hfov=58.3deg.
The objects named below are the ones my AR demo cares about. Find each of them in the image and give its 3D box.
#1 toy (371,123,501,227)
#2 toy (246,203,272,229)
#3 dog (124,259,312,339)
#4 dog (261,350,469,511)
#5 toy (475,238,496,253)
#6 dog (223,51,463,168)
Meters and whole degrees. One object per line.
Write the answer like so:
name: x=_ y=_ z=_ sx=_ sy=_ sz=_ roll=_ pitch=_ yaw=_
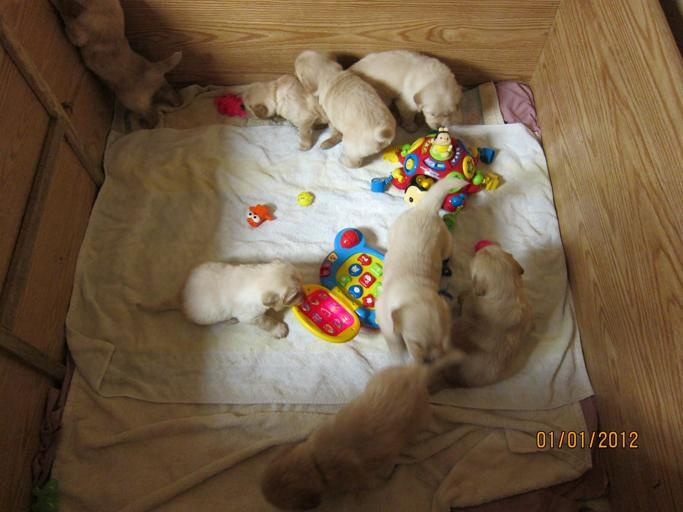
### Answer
toy: x=0.557 y=-0.406 z=3.398 sx=0.536 sy=0.275 sz=0.663 roll=-14 pitch=72 yaw=6
toy: x=-0.431 y=-0.219 z=3.247 sx=0.159 sy=0.048 sz=0.114 roll=-23 pitch=72 yaw=-15
dog: x=-0.645 y=0.169 z=2.999 sx=0.885 sy=0.361 sz=0.343 roll=5 pitch=53 yaw=-1
dog: x=0.120 y=0.781 z=2.640 sx=0.686 sy=0.352 sz=0.194 roll=-37 pitch=84 yaw=23
toy: x=0.722 y=-0.063 z=3.061 sx=0.084 sy=0.088 sz=0.063 roll=-4 pitch=32 yaw=0
dog: x=0.041 y=-0.808 z=3.310 sx=1.065 sy=0.442 sz=0.587 roll=-3 pitch=76 yaw=28
